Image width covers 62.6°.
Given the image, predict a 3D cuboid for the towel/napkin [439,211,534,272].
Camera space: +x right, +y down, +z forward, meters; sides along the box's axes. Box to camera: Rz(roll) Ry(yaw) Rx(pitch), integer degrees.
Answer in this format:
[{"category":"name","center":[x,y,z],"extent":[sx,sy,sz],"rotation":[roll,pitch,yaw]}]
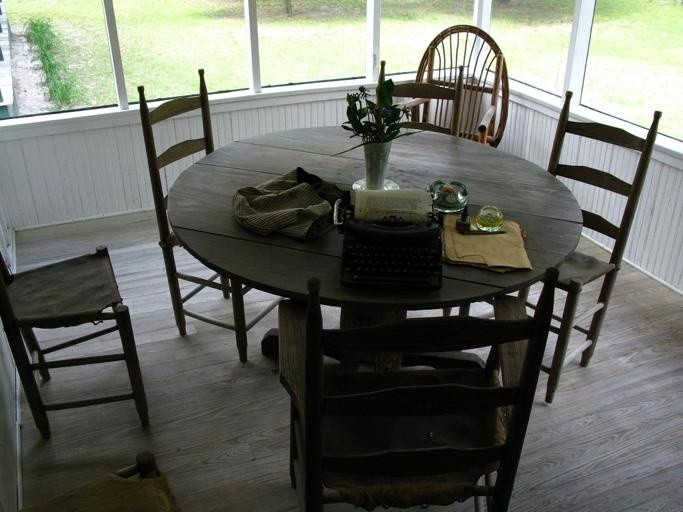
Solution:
[{"category":"towel/napkin","center":[0.513,-0.058,1.987],"extent":[0.238,0.027,0.229],"rotation":[0,37,2]}]

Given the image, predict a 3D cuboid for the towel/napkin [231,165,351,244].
[{"category":"towel/napkin","center":[-0.223,-0.220,2.217],"extent":[0.436,0.163,0.422],"rotation":[4,24,5]}]
